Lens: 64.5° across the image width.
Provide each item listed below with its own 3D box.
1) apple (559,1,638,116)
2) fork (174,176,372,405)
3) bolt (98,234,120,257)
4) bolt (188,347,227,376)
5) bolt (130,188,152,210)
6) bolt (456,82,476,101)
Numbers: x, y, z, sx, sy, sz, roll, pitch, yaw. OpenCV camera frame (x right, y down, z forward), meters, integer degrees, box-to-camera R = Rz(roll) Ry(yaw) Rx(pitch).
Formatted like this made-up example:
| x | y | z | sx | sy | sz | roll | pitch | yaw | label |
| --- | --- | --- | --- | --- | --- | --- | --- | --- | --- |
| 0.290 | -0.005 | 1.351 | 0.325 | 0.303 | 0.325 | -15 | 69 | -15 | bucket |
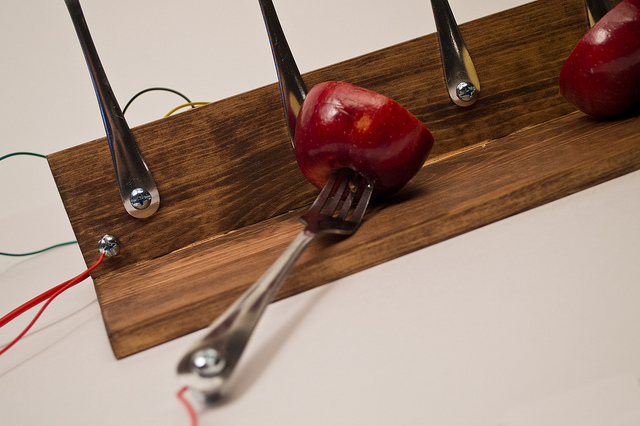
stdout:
| x | y | z | sx | sy | sz | roll | pitch | yaw | label |
| --- | --- | --- | --- | --- | --- | --- | --- | --- | --- |
| 0.394 | -0.204 | 0.748 | 0.132 | 0.086 | 0.130 | -51 | -25 | 15 | apple |
| -0.054 | 0.086 | 0.553 | 0.044 | 0.275 | 0.047 | 20 | -39 | 21 | fork |
| -0.299 | 0.047 | 0.717 | 0.028 | 0.025 | 0.024 | 10 | -45 | -19 | bolt |
| -0.102 | 0.135 | 0.457 | 0.023 | 0.016 | 0.025 | -9 | -75 | 5 | bolt |
| -0.253 | -0.020 | 0.710 | 0.027 | 0.016 | 0.028 | -1 | -86 | -22 | bolt |
| 0.225 | -0.190 | 0.788 | 0.030 | 0.018 | 0.021 | -3 | -42 | -6 | bolt |
